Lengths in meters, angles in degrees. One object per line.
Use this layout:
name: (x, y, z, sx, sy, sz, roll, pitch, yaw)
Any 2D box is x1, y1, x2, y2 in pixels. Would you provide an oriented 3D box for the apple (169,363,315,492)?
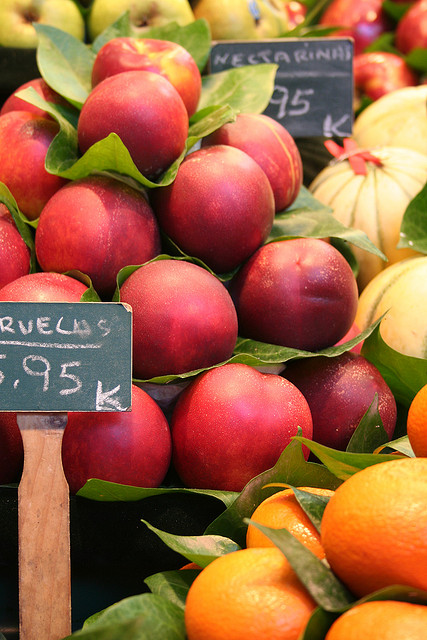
apple: (0.023, 0.115, 0.604, 0.136, 0.128, 0.130, 3, 73, -8)

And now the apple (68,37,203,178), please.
apple: (-0.074, -0.268, 0.704, 0.111, 0.116, 0.213, 5, 57, 6)

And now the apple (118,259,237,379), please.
apple: (-0.047, 0.016, 0.619, 0.136, 0.160, 0.138, -6, -14, 23)

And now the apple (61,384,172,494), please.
apple: (-0.093, 0.118, 0.583, 0.102, 0.118, 0.098, -4, 16, -18)

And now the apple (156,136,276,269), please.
apple: (0.003, -0.125, 0.635, 0.130, 0.153, 0.136, 0, 5, -4)

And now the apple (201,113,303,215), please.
apple: (0.050, -0.203, 0.796, 0.131, 0.155, 0.130, 1, 0, 9)

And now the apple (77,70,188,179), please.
apple: (-0.093, -0.226, 0.656, 0.115, 0.108, 0.102, -27, 47, -30)

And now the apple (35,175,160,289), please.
apple: (-0.124, -0.116, 0.655, 0.112, 0.124, 0.109, 6, 6, -23)

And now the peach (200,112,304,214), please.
peach: (0.044, -0.222, 0.791, 0.124, 0.125, 0.145, -2, 26, -5)

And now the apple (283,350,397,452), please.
apple: (0.170, 0.101, 0.690, 0.114, 0.134, 0.118, -12, 5, 12)

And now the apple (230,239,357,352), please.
apple: (0.095, -0.026, 0.705, 0.144, 0.128, 0.132, 8, 30, -1)

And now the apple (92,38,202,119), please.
apple: (-0.092, -0.328, 0.761, 0.129, 0.092, 0.117, -11, 25, -22)
